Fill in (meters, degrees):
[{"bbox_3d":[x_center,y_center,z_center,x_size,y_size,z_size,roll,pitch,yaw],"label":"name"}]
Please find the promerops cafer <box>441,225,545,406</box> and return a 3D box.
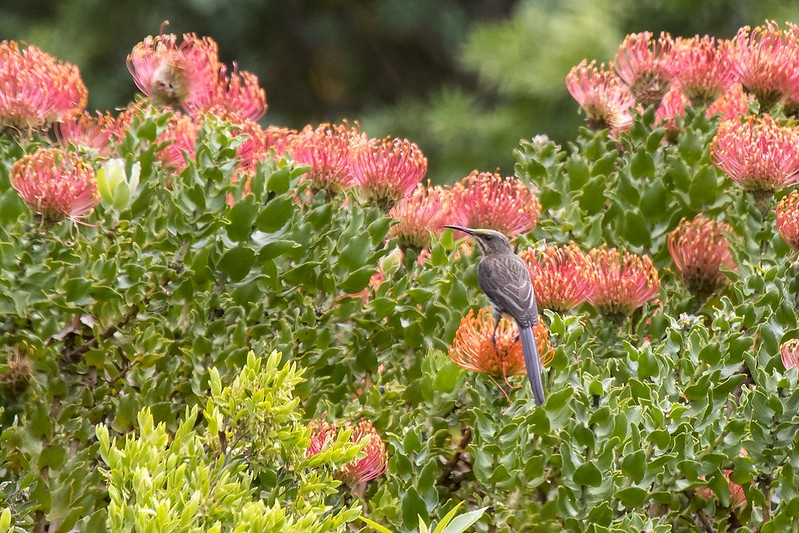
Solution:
[{"bbox_3d":[0.314,0.132,4.320,0.141,0.230,0.555,-19,52,-2],"label":"promerops cafer"}]
